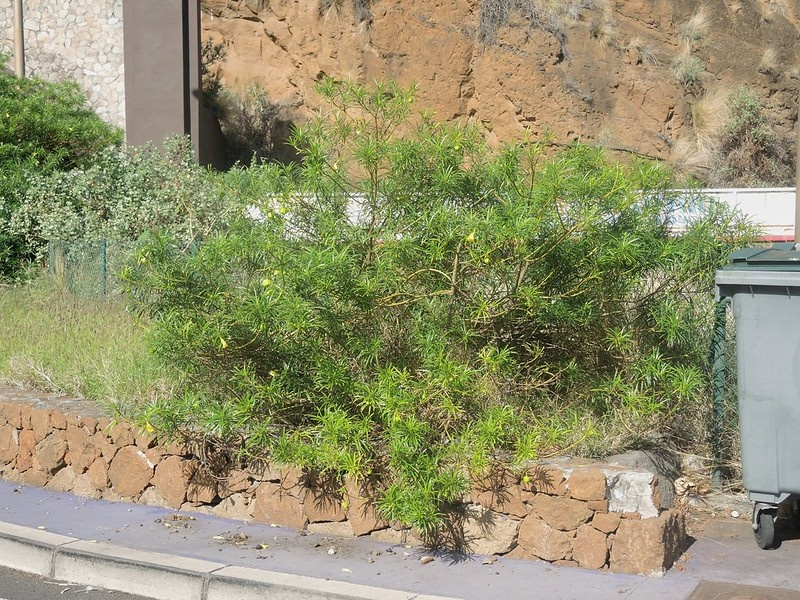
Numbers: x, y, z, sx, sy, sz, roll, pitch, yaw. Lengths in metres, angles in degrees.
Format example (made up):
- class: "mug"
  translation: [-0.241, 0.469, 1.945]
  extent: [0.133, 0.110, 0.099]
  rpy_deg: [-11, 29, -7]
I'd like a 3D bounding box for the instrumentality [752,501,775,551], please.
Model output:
- class: "instrumentality"
  translation: [4.627, 2.852, 18.524]
  extent: [0.265, 0.600, 0.438]
  rpy_deg: [9, 3, 3]
